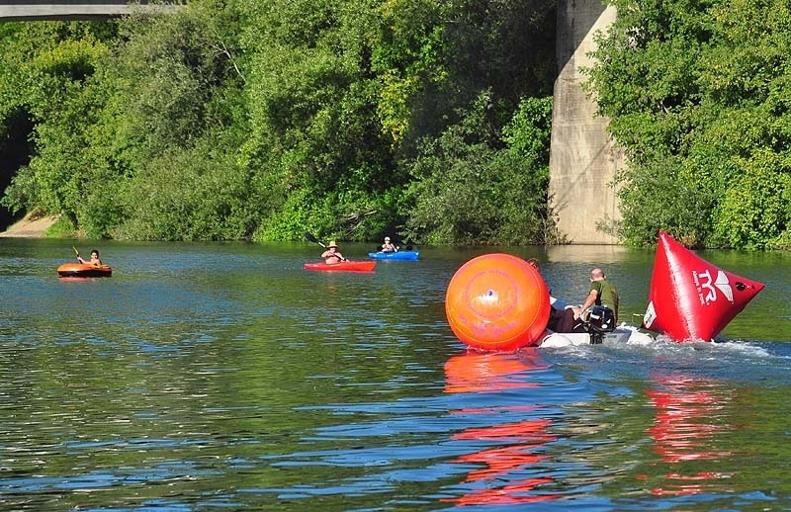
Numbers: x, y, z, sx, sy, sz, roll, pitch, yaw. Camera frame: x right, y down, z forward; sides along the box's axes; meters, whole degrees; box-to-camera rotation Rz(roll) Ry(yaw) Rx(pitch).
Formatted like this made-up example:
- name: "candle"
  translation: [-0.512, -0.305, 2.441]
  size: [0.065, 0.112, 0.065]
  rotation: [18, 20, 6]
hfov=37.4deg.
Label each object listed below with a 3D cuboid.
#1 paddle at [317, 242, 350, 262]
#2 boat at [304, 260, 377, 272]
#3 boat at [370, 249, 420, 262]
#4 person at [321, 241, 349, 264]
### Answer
- name: "paddle"
  translation: [-2.615, 0.006, 48.501]
  size: [0.715, 0.857, 1.924]
  rotation: [-16, 1, -30]
- name: "boat"
  translation: [-2.014, 0.469, 47.323]
  size: [3.199, 0.470, 0.906]
  rotation: [-2, 2, 11]
- name: "boat"
  translation: [0.134, 0.043, 53.383]
  size: [0.794, 0.387, 2.503]
  rotation: [1, -6, -41]
- name: "person"
  translation: [-2.528, -0.061, 48.236]
  size: [1.032, 0.638, 1.362]
  rotation: [-1, -7, -26]
